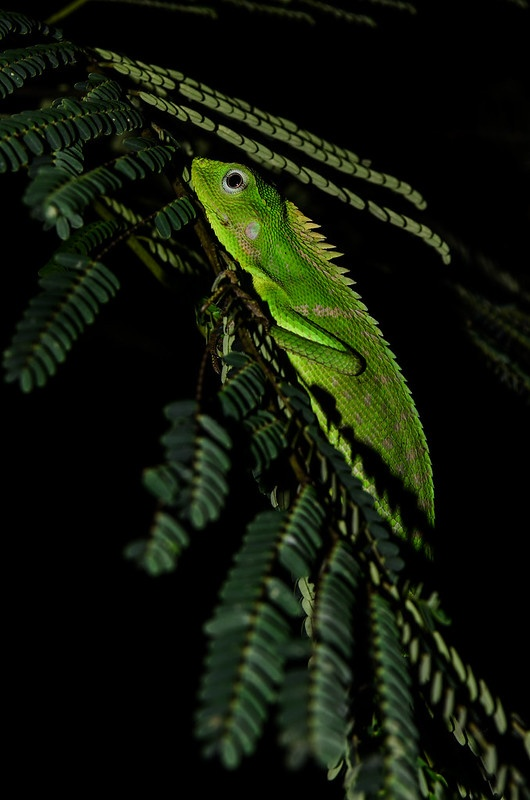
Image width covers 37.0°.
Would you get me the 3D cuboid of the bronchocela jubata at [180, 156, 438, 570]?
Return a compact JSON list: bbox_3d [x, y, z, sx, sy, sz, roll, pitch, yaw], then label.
[{"bbox_3d":[0.106,-0.079,1.347,0.580,0.461,0.267,35,37,30],"label":"bronchocela jubata"}]
